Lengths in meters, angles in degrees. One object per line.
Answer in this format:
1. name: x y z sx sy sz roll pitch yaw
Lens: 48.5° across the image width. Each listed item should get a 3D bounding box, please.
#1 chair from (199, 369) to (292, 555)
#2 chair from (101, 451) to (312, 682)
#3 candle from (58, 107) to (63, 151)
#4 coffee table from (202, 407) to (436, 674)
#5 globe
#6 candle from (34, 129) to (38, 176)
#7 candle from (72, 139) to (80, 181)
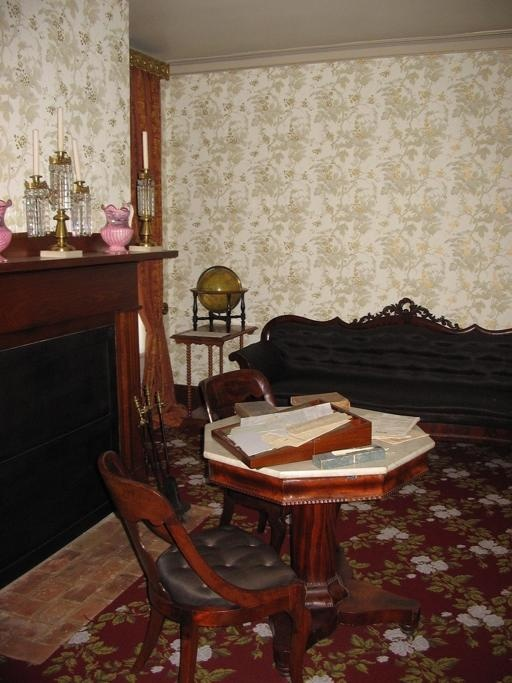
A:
1. chair: 0.019 0.540 2.485 0.428 0.747 0.442 -5 16 -35
2. chair: -0.164 0.653 1.634 0.517 0.713 0.480 -5 9 -28
3. candle: -0.907 -0.980 2.623 0.022 0.193 0.067 -4 9 -19
4. coffee table: 0.189 0.595 1.943 0.587 0.874 0.578 -8 13 -44
5. globe: -0.281 -0.356 4.440 0.422 0.533 0.260 8 12 18
6. candle: -0.938 -0.799 2.408 0.023 0.182 0.064 -4 9 -21
7. candle: -0.889 -0.885 2.801 0.029 0.227 0.331 -3 8 -16
